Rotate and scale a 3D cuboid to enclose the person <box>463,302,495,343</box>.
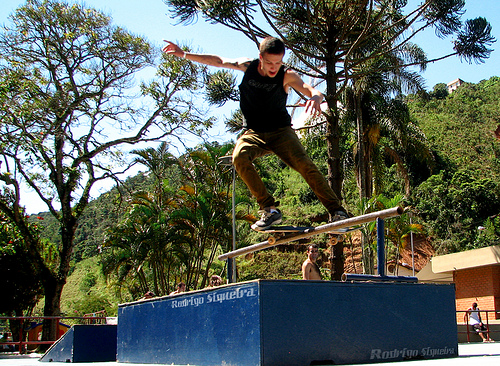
[{"bbox_3d":[8.545,5.370,17.492,0.683,1.512,3.377,-13,-7,23],"label":"person"}]
